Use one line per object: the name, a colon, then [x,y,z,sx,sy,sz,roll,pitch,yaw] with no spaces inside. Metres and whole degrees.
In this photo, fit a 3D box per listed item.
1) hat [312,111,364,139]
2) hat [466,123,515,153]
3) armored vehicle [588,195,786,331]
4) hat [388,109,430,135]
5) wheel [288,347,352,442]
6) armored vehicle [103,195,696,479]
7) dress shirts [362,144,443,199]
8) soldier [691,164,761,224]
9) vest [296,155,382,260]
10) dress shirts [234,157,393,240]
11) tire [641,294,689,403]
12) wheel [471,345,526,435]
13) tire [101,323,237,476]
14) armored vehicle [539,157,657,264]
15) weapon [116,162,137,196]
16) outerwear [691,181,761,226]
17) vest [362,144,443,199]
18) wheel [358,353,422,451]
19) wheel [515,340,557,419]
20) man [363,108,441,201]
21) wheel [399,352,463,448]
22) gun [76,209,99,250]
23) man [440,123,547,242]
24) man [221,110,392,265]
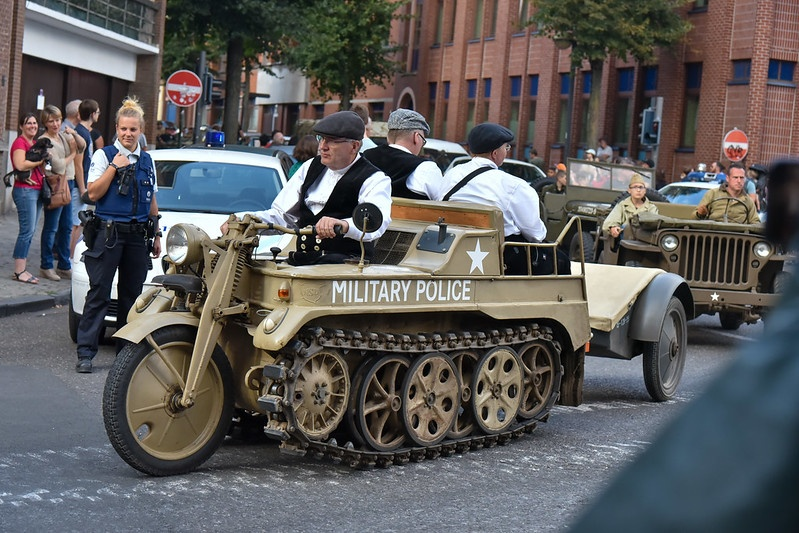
hat: [-0.400,-0.929,6.122,0.260,0.134,0.201,7,3,-13]
hat: [0.741,-0.986,7.220,0.302,0.161,0.240,-23,35,-24]
armored vehicle: [3.695,-0.063,12.463,1.878,1.524,3.200,0,1,-15]
hat: [0.101,-1.167,7.399,0.259,0.126,0.227,3,-2,-31]
wheel: [-0.509,0.789,5.646,0.153,0.637,0.564,2,3,38]
armored vehicle: [-0.297,0.426,6.654,3.768,1.574,1.470,-1,2,-38]
dress shirts: [0.088,-0.709,7.417,0.678,0.413,0.664,18,13,20]
soldier: [4.480,-0.848,12.197,0.784,0.971,0.522,8,3,15]
vest: [-0.407,-0.383,6.151,0.469,0.670,0.360,14,-12,14]
dress shirts: [-0.587,-0.441,6.256,1.050,0.700,0.606,3,3,22]
tire: [2.417,0.735,8.260,0.277,1.006,0.864,6,6,31]
wheel: [0.709,0.907,6.636,0.099,0.622,0.605,1,-5,36]
tire: [-1.398,0.821,5.551,0.849,1.004,0.271,0,3,-27]
armored vehicle: [3.681,-1.188,17.172,1.775,2.175,3.201,-2,4,-26]
weapon: [-2.341,-0.728,7.797,0.150,0.266,0.090,0,6,-30]
outerwear: [4.393,-0.780,12.116,0.867,0.697,0.508,9,-14,15]
vest: [0.059,-0.725,7.453,0.678,0.413,0.664,18,13,20]
wheel: [-0.033,0.908,5.954,0.134,0.661,0.618,14,-13,-30]
wheel: [1.040,0.867,6.962,0.532,0.645,0.223,9,-7,-44]
man: [0.043,-0.869,7.412,0.409,0.756,0.751,1,-2,-39]
wheel: [0.200,0.913,6.196,0.114,0.656,0.631,-2,-4,38]
gun: [-2.684,-0.321,7.851,0.178,0.363,0.079,-2,31,-19]
man: [0.731,-0.577,7.269,0.995,1.118,0.742,5,7,35]
man: [-0.526,-0.474,6.234,0.950,1.136,0.795,9,11,28]
